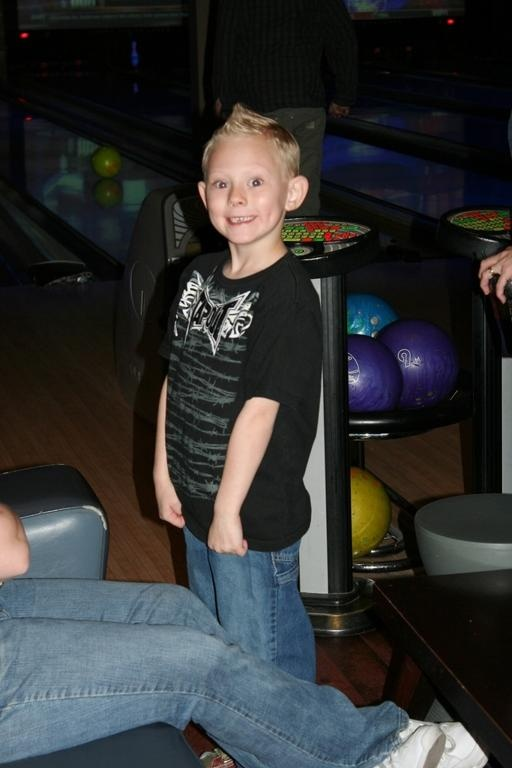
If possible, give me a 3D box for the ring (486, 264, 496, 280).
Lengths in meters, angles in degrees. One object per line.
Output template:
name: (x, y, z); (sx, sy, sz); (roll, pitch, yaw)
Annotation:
ring: (0.353, -0.167, 0.934); (0.008, 0.014, 0.011); (6, 3, 1)
